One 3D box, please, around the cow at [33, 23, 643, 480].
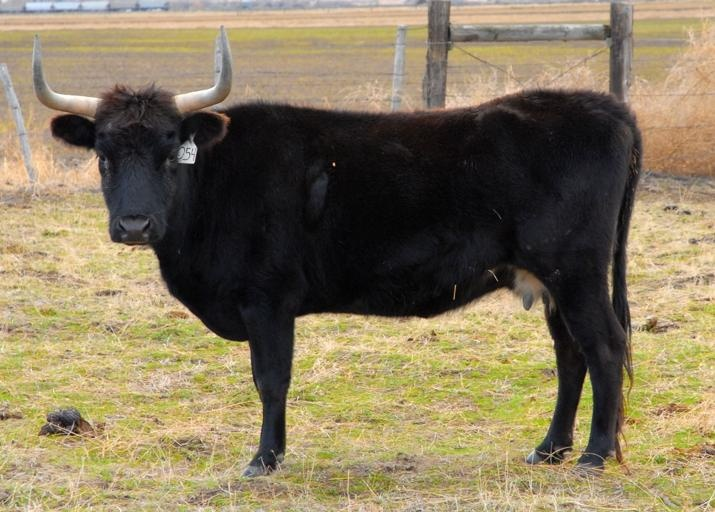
[{"bbox_3d":[-0.207,0.123,16.247,9.613,5.445,2.488,1,5,-2],"label":"cow"}]
